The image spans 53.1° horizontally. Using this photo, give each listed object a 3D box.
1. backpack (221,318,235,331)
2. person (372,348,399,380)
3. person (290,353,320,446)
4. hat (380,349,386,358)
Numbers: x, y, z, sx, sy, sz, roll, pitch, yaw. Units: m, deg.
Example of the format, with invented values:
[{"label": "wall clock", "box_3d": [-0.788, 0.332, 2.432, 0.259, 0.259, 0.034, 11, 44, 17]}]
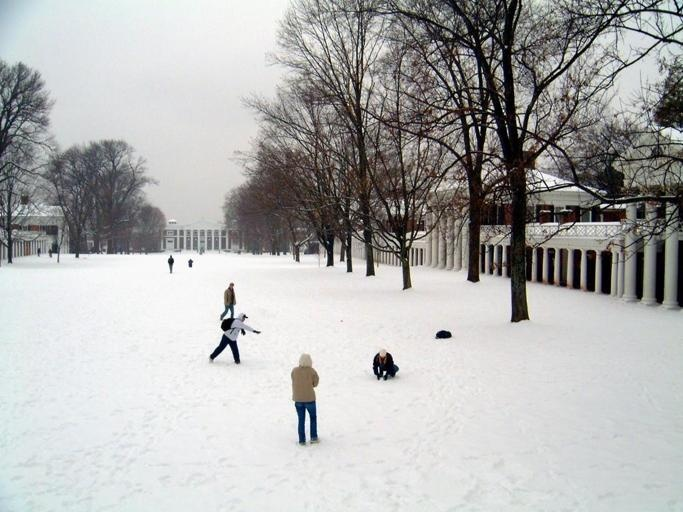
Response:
[{"label": "backpack", "box_3d": [-3.695, 2.214, 22.068, 0.285, 0.442, 0.420, 5, -19, -22]}, {"label": "person", "box_3d": [1.312, 3.300, 20.947, 0.721, 0.911, 0.489, -1, 7, 4]}, {"label": "person", "box_3d": [-0.954, 3.635, 17.567, 0.625, 2.322, 0.773, -2, 7, -3]}, {"label": "hat", "box_3d": [1.246, 2.971, 20.769, 0.231, 0.207, 0.202, -2, 7, 0]}]
